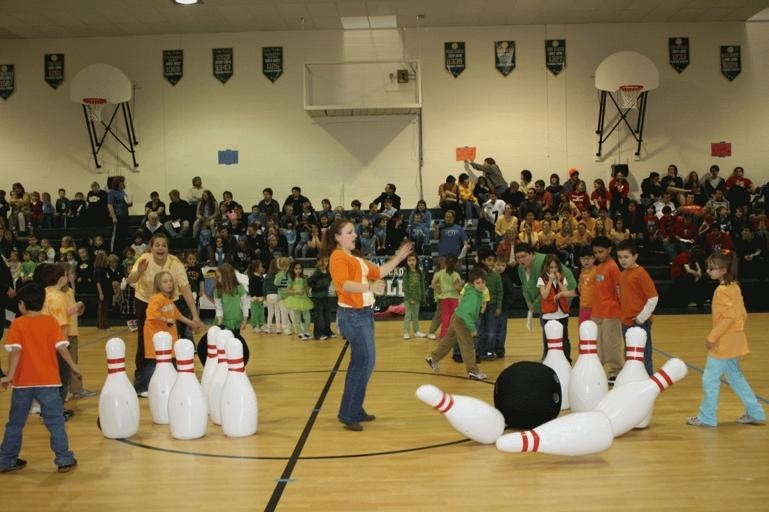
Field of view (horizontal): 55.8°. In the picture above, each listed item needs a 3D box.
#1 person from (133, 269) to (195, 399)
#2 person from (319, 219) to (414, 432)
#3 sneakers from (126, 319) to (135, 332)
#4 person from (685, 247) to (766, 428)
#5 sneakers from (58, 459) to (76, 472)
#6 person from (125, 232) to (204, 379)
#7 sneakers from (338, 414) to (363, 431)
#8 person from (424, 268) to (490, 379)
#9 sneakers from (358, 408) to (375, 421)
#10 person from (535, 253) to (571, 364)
[{"bbox_3d":[-2.813,1.015,9.402,0.717,1.628,0.616,-1,1,-40],"label":"person"},{"bbox_3d":[-0.257,0.784,8.330,0.808,2.418,0.853,-1,1,-5],"label":"person"},{"bbox_3d":[-4.810,1.352,13.943,0.137,0.091,0.229,2,42,-21],"label":"sneakers"},{"bbox_3d":[3.853,0.931,8.274,0.841,1.970,0.343,-1,1,-12],"label":"person"},{"bbox_3d":[-3.313,2.205,7.628,0.073,0.092,0.205,2,5,0],"label":"sneakers"},{"bbox_3d":[-2.876,0.779,9.493,1.110,2.016,0.931,6,8,23],"label":"person"},{"bbox_3d":[-0.376,1.909,8.394,0.328,0.158,0.124,8,3,35],"label":"sneakers"},{"bbox_3d":[1.086,1.036,10.696,0.980,1.777,0.616,1,33,-4],"label":"person"},{"bbox_3d":[-0.222,1.863,8.618,0.243,0.187,0.087,-6,18,-11],"label":"sneakers"},{"bbox_3d":[2.292,0.716,9.748,0.472,1.458,1.289,0,0,12],"label":"person"}]
